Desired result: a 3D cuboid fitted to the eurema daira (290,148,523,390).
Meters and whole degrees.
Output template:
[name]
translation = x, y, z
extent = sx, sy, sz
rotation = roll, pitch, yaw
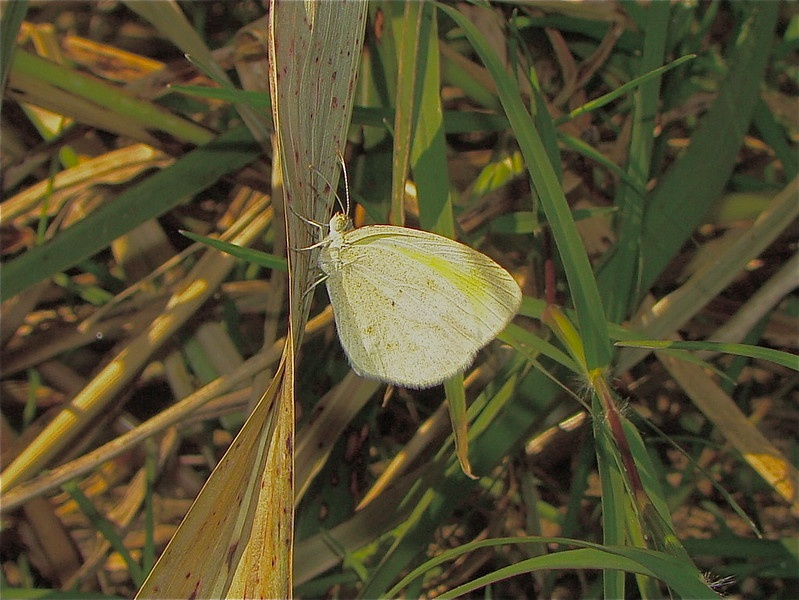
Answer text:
[eurema daira]
translation = -0.033, 0.007, 1.306
extent = 0.337, 0.218, 0.339
rotation = -33, 66, -31
